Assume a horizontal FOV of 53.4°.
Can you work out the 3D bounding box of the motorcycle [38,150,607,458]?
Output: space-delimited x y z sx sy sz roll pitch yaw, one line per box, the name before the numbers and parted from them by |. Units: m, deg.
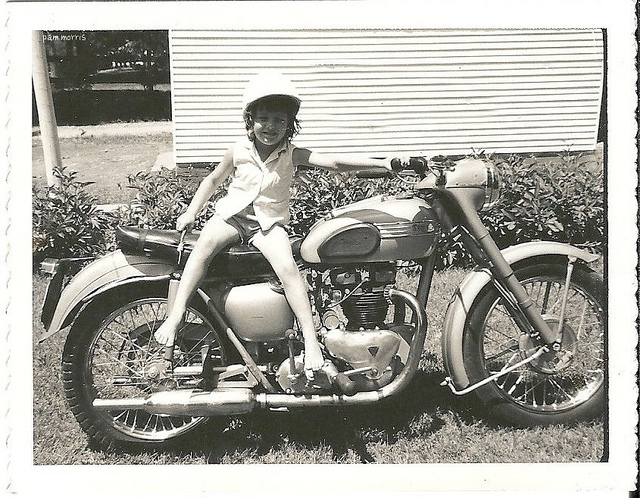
motorcycle | 0.196 0.414 4.383 4.041 2.139 1.391 -3 15 -4
